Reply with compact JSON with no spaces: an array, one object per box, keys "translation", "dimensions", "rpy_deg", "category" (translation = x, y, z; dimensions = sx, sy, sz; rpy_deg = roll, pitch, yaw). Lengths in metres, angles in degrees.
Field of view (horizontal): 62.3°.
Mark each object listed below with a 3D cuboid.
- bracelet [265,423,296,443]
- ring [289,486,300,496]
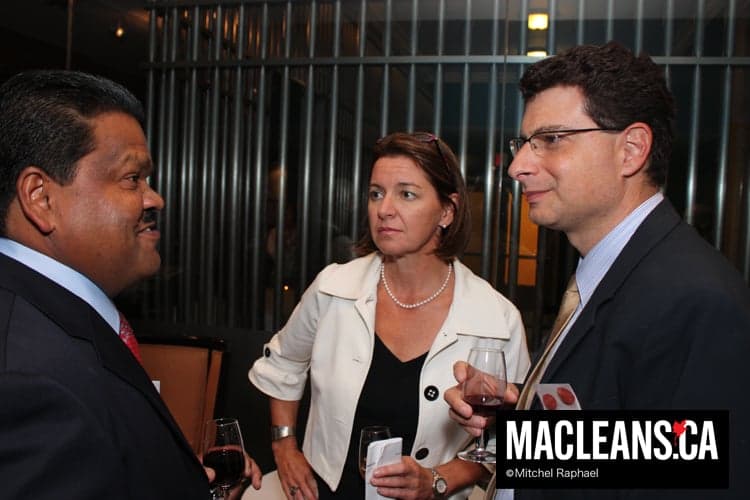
[{"translation":[-0.414,0.813,2.757],"dimensions":[0.086,0.061,0.089],"rpy_deg":[5,-11,-12],"category":"bracelet"},{"translation":[-0.335,0.999,2.564],"dimensions":[0.023,0.033,0.012],"rpy_deg":[-15,-38,11],"category":"ring"}]
